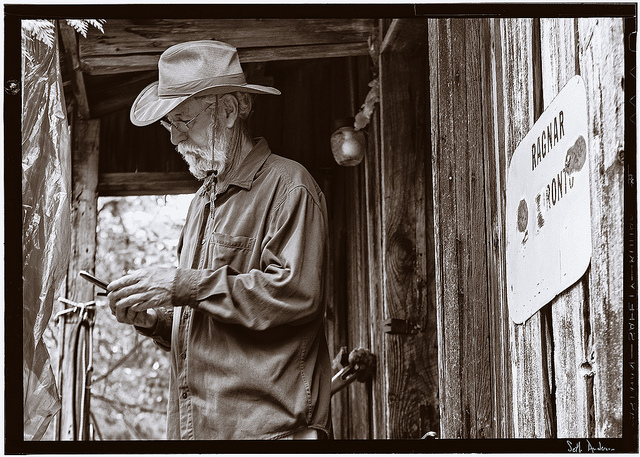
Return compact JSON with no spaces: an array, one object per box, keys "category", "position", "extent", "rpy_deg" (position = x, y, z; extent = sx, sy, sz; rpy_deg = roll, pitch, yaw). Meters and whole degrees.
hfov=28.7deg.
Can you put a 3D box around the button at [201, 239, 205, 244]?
[{"category":"button","position":[-0.518,0.061,5.568],"extent":[0.015,0.021,0.002],"rpy_deg":[-8,-19,42]}]

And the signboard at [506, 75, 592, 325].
[{"category":"signboard","position":[0.972,-0.107,5.222],"extent":[0.047,0.976,0.927],"rpy_deg":[5,-13,-21]}]

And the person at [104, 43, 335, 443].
[{"category":"person","position":[-0.394,0.067,5.591],"extent":[0.986,1.771,0.352],"rpy_deg":[5,-14,0]}]

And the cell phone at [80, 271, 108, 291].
[{"category":"cell phone","position":[-1.061,0.252,5.855],"extent":[0.227,0.032,0.033],"rpy_deg":[27,1,-40]}]

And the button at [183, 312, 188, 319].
[{"category":"button","position":[-0.586,0.386,5.493],"extent":[0.026,0.025,0.001],"rpy_deg":[-2,-16,26]}]

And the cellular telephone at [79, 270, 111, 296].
[{"category":"cellular telephone","position":[-0.990,0.231,5.494],"extent":[0.138,0.078,0.106],"rpy_deg":[28,4,-33]}]

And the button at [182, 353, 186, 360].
[{"category":"button","position":[-0.593,0.560,5.472],"extent":[0.016,0.024,0.004],"rpy_deg":[0,-15,21]}]
